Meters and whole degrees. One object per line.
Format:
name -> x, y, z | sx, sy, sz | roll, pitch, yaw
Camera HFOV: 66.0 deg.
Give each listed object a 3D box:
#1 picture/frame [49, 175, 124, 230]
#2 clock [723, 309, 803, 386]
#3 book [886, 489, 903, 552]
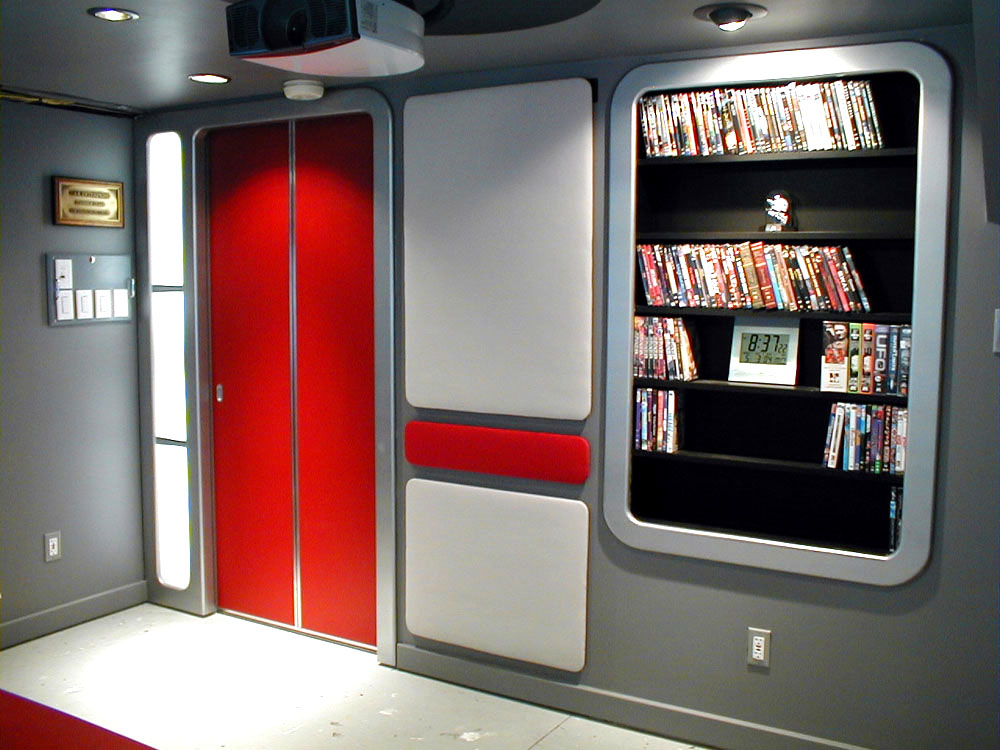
picture/frame -> -2.187, -0.892, 4.030 | 0.014, 0.239, 0.322 | 0, 1, 37
clock -> 1.067, -0.102, 3.042 | 0.264, 0.328, 0.036 | 2, -7, 27
book -> 1.499, 0.537, 2.885 | 0.034, 0.237, 0.238 | 4, 10, 26
